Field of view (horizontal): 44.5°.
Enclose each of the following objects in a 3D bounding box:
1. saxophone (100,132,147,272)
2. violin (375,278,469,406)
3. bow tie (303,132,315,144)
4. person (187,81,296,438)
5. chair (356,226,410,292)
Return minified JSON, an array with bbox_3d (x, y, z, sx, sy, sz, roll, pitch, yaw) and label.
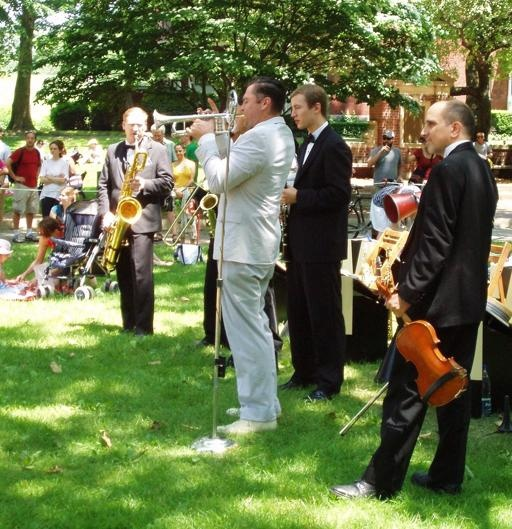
[{"bbox_3d":[-1.217,-0.541,5.781,0.429,1.208,0.468,6,15,-29],"label":"saxophone"},{"bbox_3d":[0.739,0.427,2.687,0.309,0.357,0.112,6,9,38],"label":"violin"},{"bbox_3d":[0.384,-0.900,4.406,0.059,0.079,0.029,-1,-3,36],"label":"bow tie"},{"bbox_3d":[-0.042,-0.009,3.849,0.674,1.988,0.682,0,2,-16],"label":"person"},{"bbox_3d":[0.955,-0.030,4.802,0.601,0.630,0.354,-2,5,-39],"label":"chair"}]
